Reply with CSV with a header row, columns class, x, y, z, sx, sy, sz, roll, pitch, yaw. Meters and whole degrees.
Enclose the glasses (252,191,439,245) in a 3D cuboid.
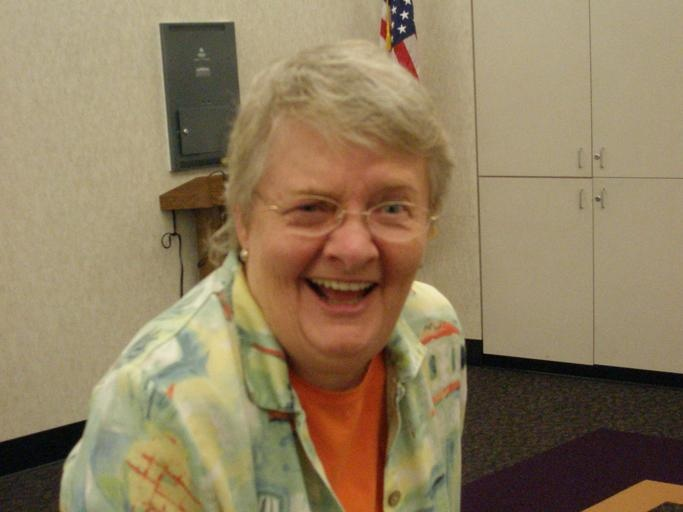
class,x,y,z,sx,sy,sz,roll,pitch,yaw
glasses,0.010,-0.089,1.510,0.374,0.111,0.068,-1,6,-8
